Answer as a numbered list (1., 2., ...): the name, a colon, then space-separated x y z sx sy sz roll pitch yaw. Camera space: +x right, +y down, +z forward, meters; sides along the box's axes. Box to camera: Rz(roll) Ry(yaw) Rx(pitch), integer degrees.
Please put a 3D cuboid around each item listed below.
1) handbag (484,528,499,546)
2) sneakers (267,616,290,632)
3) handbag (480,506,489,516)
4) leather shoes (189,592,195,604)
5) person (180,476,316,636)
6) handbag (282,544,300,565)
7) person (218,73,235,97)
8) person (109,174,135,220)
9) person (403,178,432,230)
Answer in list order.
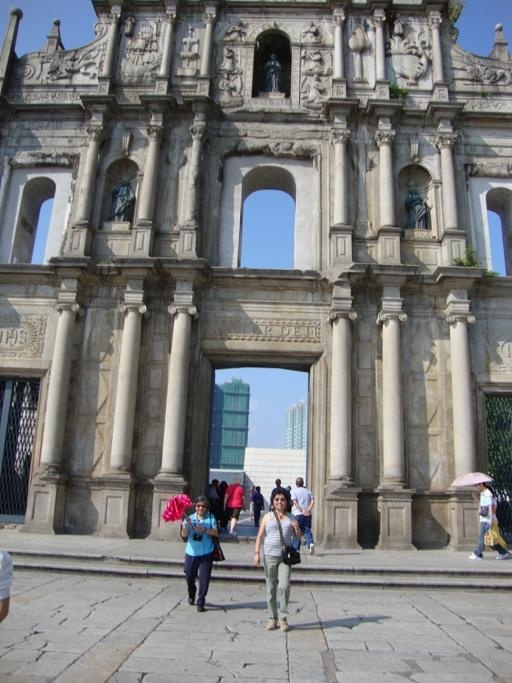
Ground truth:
1. handbag: 4.843 4.055 11.760 0.220 0.343 0.411 -10 -17 38
2. sneakers: 0.232 2.848 5.743 0.297 0.124 0.108 24 -41 -35
3. handbag: 4.716 3.545 11.876 0.159 0.285 0.195 -3 -8 17
4. leather shoes: -0.780 3.091 6.859 0.073 0.139 0.094 -3 6 -17
5. person: -0.132 2.332 6.238 0.677 1.393 1.657 11 -17 -37
6. handbag: 0.352 2.142 5.686 0.173 0.187 0.226 -9 -16 34
7. person: -0.902 -7.980 17.819 0.524 0.900 0.129 0 -14 2
8. person: -4.000 -4.267 17.280 0.684 1.707 0.604 4 -14 -15
9. person: 4.739 -3.867 16.892 0.678 1.545 0.342 5 -22 4
